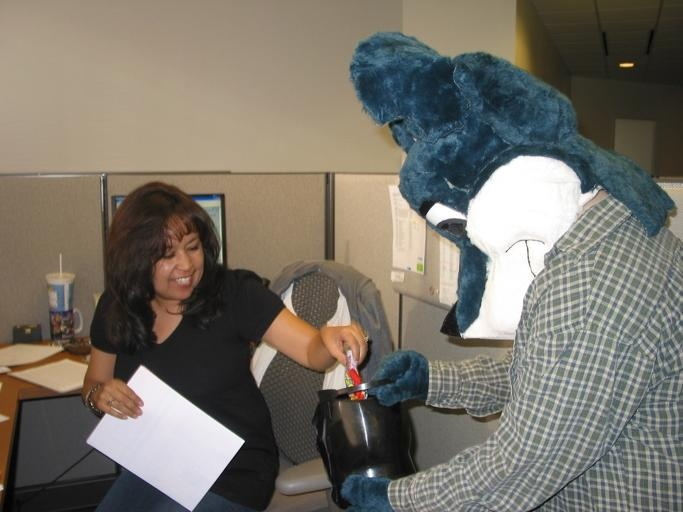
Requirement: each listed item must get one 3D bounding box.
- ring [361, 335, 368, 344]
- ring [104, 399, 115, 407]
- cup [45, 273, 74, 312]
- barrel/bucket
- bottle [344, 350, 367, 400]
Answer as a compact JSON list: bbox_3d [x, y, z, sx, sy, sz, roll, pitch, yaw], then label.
[{"bbox_3d":[0.060,0.215,1.607,0.013,0.018,0.007,-2,-5,-37],"label":"ring"},{"bbox_3d":[-0.619,0.389,1.637,0.013,0.020,0.007,1,25,10],"label":"ring"},{"bbox_3d":[-1.174,0.143,2.562,0.110,0.151,0.149,-3,9,-25],"label":"cup"},{"bbox_3d":[0.048,0.429,1.520,0.221,0.301,0.286,-2,-1,-34],"label":"barrel/bucket"},{"bbox_3d":[0.030,0.274,1.433,0.029,0.031,0.112,4,48,-23],"label":"bottle"}]
